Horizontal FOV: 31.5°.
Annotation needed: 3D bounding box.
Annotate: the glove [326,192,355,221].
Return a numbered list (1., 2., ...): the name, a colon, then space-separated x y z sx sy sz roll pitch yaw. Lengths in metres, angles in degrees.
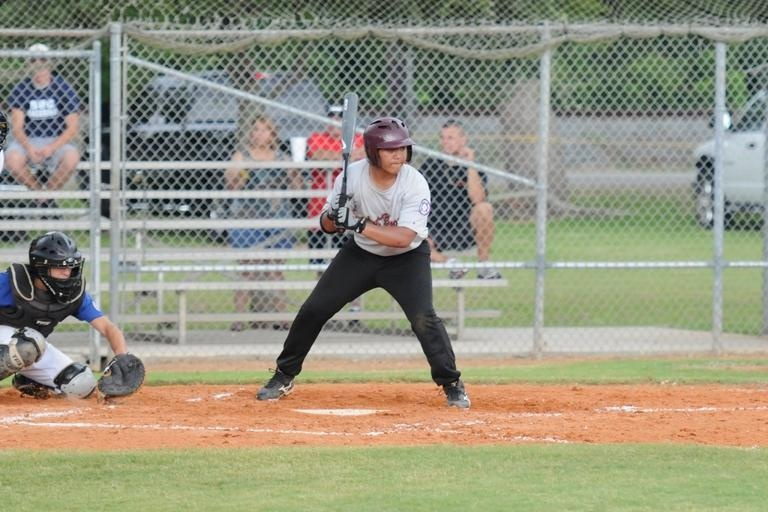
1. glove: -0.405 -0.445 12.072 0.231 0.242 0.101 4 13 -11

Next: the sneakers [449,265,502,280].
1. sneakers: 0.945 0.169 14.709 0.585 0.179 0.174 2 -1 -2

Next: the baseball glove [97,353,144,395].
1. baseball glove: -2.378 1.086 12.552 0.582 0.397 0.174 -16 -30 20

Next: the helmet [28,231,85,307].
1. helmet: -2.981 0.059 12.469 0.520 0.511 0.630 -1 8 -33

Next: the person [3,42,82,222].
1. person: -3.615 -1.461 14.456 0.789 1.535 1.128 -2 3 -11

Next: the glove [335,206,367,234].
1. glove: -0.310 -0.327 12.002 0.279 0.238 0.164 0 4 27

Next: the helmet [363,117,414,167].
1. helmet: 0.030 -1.012 12.143 0.432 0.429 0.298 -1 3 1
